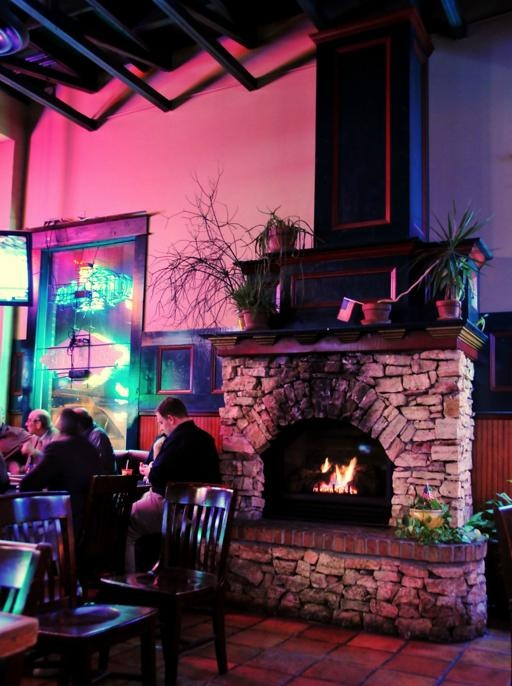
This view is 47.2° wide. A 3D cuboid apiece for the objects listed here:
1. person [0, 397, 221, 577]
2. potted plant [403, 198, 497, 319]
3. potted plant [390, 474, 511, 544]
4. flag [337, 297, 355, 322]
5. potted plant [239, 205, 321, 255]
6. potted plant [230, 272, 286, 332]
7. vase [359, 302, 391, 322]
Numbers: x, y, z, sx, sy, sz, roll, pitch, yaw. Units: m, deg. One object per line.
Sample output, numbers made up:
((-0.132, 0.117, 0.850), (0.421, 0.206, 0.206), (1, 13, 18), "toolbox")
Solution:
((-1.004, 0.796, 3.571), (0.903, 1.217, 1.138), (-6, -23, 20), "person")
((1.371, -0.576, 4.082), (0.497, 1.010, 0.818), (-6, -12, 38), "potted plant")
((1.319, 1.114, 3.798), (0.924, 0.370, 0.423), (7, -11, -33), "potted plant")
((0.622, -0.230, 4.038), (0.130, 0.189, 0.210), (0, -9, 8), "flag")
((0.205, -0.893, 4.671), (0.503, 0.338, 0.534), (-1, -6, -7), "potted plant")
((-0.015, -0.312, 4.550), (0.422, 0.472, 0.417), (2, -6, -15), "potted plant")
((0.789, -0.200, 3.897), (0.144, 0.108, 0.145), (1, -5, -12), "vase")
